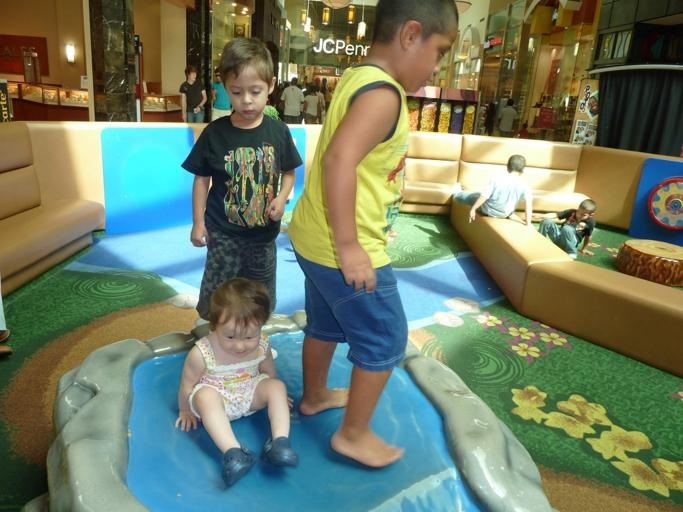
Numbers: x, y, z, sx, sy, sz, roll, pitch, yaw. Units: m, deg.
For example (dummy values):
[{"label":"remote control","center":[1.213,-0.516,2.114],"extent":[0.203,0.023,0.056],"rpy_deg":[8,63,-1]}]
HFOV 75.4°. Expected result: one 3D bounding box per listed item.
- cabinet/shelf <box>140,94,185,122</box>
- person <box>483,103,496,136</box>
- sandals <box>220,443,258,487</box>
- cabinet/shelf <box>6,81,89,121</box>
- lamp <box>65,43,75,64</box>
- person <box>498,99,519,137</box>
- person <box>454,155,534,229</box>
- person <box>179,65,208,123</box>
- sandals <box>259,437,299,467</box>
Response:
[{"label":"cabinet/shelf","center":[-4.045,-3.247,9.836],"extent":[0.610,0.490,1.486],"rpy_deg":[2,22,-7]},{"label":"person","center":[3.977,-3.696,11.938],"extent":[0.301,0.868,1.142],"rpy_deg":[11,22,16]},{"label":"sandals","center":[-0.355,0.702,1.530],"extent":[0.099,0.086,0.147],"rpy_deg":[39,13,7]},{"label":"cabinet/shelf","center":[-6.254,-3.252,9.446],"extent":[1.686,0.670,0.764],"rpy_deg":[12,22,17]},{"label":"lamp","center":[-7.994,-5.990,13.043],"extent":[0.276,0.554,0.179],"rpy_deg":[-8,24,-29]},{"label":"person","center":[4.063,-3.310,11.008],"extent":[0.435,1.191,0.352],"rpy_deg":[6,33,10]},{"label":"person","center":[1.568,-0.697,4.512],"extent":[0.492,0.677,1.046],"rpy_deg":[5,15,-16]},{"label":"person","center":[-2.548,-2.591,7.593],"extent":[0.448,1.290,0.364],"rpy_deg":[-6,38,-16]},{"label":"sandals","center":[-0.202,0.677,1.516],"extent":[0.070,0.069,0.147],"rpy_deg":[8,-5,-23]}]
